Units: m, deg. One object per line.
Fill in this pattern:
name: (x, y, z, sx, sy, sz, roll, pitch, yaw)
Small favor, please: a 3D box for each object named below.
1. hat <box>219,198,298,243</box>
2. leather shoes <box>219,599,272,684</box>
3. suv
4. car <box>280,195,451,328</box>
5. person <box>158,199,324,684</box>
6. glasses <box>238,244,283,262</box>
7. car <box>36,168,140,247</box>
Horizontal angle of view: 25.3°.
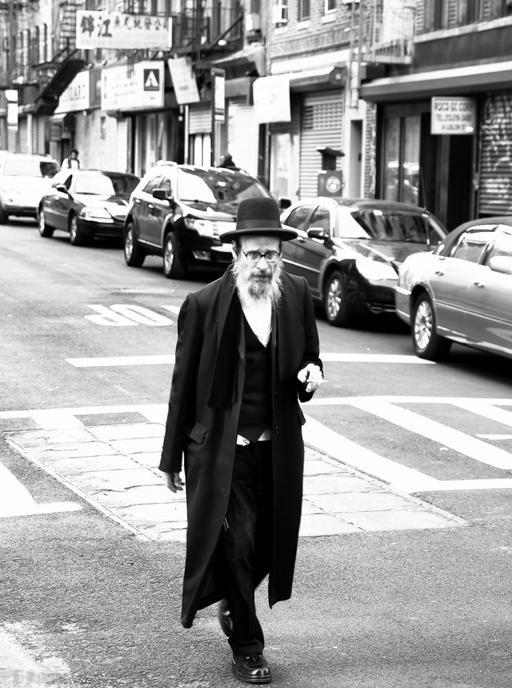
hat: (0.007, -0.388, 3.702, 0.147, 0.102, 0.177, -1, -2, -10)
leather shoes: (-0.028, 0.976, 3.710, 0.083, 0.135, 0.296, -6, 21, -15)
suv: (-1.010, -2.083, 19.092, 1.494, 1.533, 3.228, 1, 9, -24)
car: (1.256, -1.127, 14.629, 1.121, 1.135, 2.630, -1, 5, -21)
person: (-0.053, 0.296, 3.726, 0.519, 1.522, 0.470, 2, 6, 1)
glasses: (0.020, -0.281, 3.678, 0.136, 0.041, 0.080, 2, 7, -10)
car: (-3.719, -3.012, 25.263, 1.233, 1.057, 2.945, 1, 5, -21)
